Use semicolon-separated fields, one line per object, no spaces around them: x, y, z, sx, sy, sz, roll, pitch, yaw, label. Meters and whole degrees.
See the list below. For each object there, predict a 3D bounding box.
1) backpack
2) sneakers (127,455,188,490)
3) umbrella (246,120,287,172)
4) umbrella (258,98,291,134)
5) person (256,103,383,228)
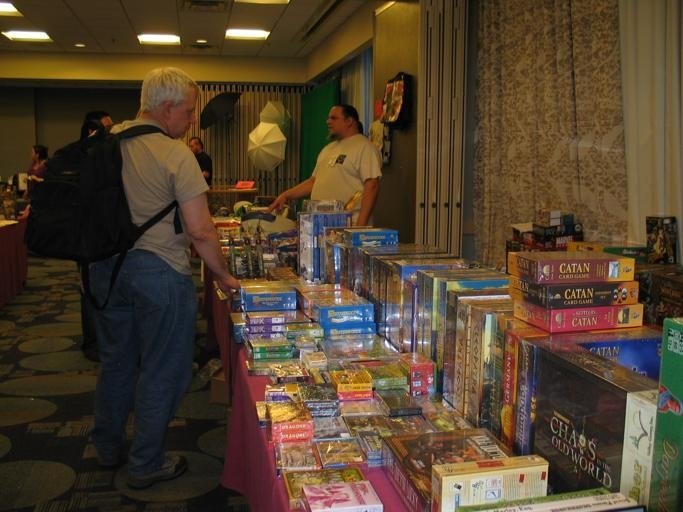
-1.099;-0.263;2.720;0.671;0.647;0.477;-1;2;0;backpack
-0.952;1.100;2.987;0.111;0.129;0.287;13;19;43;sneakers
-1.271;-1.787;9.425;0.696;0.755;0.469;7;12;29;umbrella
-1.056;-2.337;9.585;0.492;0.568;0.346;-20;16;-33;umbrella
0.035;-0.679;4.244;0.313;0.830;0.626;-5;11;-37;person
